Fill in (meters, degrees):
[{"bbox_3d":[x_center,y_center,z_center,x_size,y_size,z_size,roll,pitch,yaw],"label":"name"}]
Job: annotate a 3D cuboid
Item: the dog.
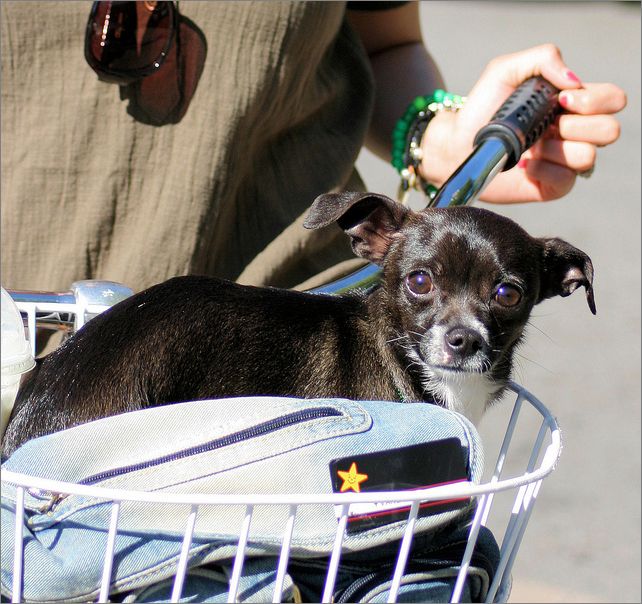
[{"bbox_3d":[-0.109,0.057,3.705,0.838,0.512,0.247,-12,42,-12],"label":"dog"}]
